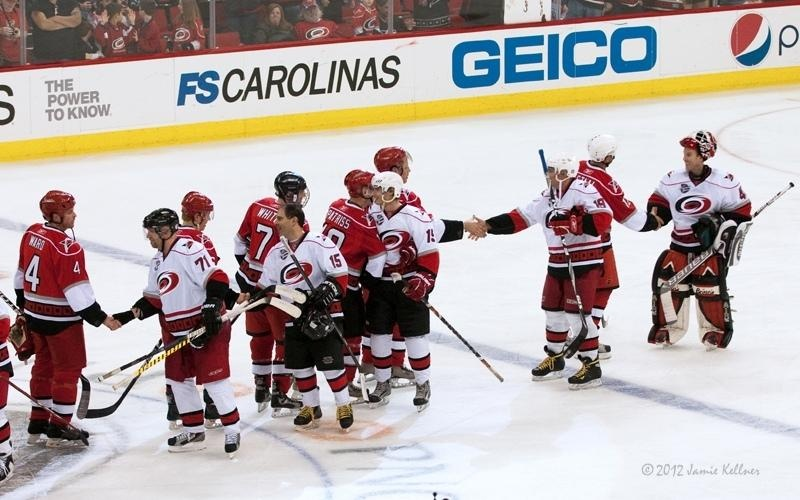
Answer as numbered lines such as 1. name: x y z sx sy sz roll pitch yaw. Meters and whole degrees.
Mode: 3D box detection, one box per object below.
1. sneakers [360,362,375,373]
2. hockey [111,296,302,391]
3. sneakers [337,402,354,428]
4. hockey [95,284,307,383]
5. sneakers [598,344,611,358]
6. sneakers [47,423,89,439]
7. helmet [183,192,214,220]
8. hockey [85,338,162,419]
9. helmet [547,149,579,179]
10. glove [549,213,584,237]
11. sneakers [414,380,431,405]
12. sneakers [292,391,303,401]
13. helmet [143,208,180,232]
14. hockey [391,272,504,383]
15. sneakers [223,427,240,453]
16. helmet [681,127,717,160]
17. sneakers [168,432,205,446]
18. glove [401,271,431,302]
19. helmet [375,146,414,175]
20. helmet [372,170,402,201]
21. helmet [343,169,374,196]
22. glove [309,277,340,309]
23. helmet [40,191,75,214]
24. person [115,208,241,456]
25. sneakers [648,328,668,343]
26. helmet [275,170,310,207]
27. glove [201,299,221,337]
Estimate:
1. sneakers: -0.303 1.165 10.409 0.141 0.118 0.089 5 -4 -15
2. hockey: -1.739 0.889 9.853 1.787 0.200 0.254 -25 -16 5
3. sneakers: -0.474 1.529 9.674 0.104 0.119 0.264 -7 47 2
4. hockey: -1.788 0.811 9.887 1.548 0.417 0.206 -26 41 -8
5. sneakers: 2.097 1.033 10.778 0.070 0.124 0.192 -6 17 -6
6. sneakers: -2.973 1.637 9.569 0.296 0.113 0.158 8 5 -2
7. helmet: -1.884 -0.422 9.894 0.297 0.213 0.207 11 1 -12
8. hockey: -2.456 1.223 9.552 0.884 0.542 0.352 -16 -4 -3
9. helmet: 1.612 -0.835 10.361 0.276 0.227 0.218 31 19 13
10. glove: 1.622 -0.253 10.262 0.325 0.234 0.137 -4 8 8
11. sneakers: 0.226 1.359 10.126 0.179 0.220 0.275 -6 7 -1
12. sneakers: -0.987 1.424 10.306 0.078 0.087 0.218 2 -5 -13
13. helmet: -2.121 -0.264 9.479 0.269 0.229 0.195 5 -5 -11
14. hockey: 0.490 0.832 10.744 1.567 0.169 0.164 39 28 12
15. sneakers: -1.487 1.699 9.478 0.150 0.210 0.228 -7 7 -7
16. helmet: 3.153 -1.086 10.921 0.398 0.268 0.283 -3 26 3
17. sneakers: -1.901 1.698 9.551 0.314 0.130 0.127 4 6 -18
18. glove: 0.195 0.367 10.063 0.296 0.245 0.133 -42 -11 -18
19. helmet: -0.053 -0.931 10.458 0.329 0.290 0.238 -25 18 6
20. helmet: -0.089 -0.630 10.023 0.290 0.214 0.204 -15 37 0
21. helmet: -0.373 -0.640 10.142 0.286 0.257 0.209 -20 23 2
22. glove: -0.637 0.396 9.580 0.201 0.118 0.283 30 62 25
23. helmet: -3.115 -0.426 9.659 0.271 0.237 0.205 -11 20 -6
24. person: -1.920 0.729 9.481 0.880 2.202 0.435 -4 8 19
25. sneakers: 2.683 0.888 10.924 0.170 0.158 0.175 9 2 4
26. helmet: -1.007 -0.606 10.245 0.367 0.319 0.307 -13 30 -20
27. glove: -1.626 0.589 9.342 0.212 0.272 0.125 -4 -6 22
